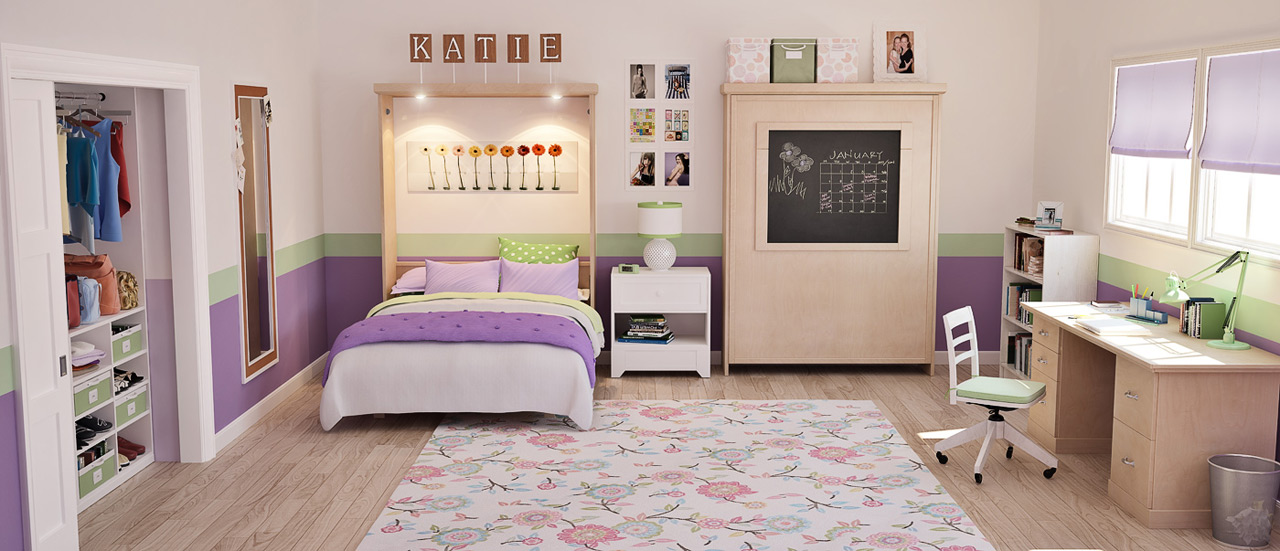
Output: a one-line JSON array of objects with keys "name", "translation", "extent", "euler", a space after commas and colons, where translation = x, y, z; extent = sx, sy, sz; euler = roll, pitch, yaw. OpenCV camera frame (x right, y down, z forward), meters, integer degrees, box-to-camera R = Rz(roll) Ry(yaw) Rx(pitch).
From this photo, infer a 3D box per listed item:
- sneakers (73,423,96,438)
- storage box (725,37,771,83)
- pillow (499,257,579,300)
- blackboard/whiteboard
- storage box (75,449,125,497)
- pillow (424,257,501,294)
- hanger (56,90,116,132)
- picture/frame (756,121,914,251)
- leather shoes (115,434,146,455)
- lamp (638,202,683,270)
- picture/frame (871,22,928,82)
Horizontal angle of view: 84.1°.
[{"name": "sneakers", "translation": [-5.727, 1.597, 7.297], "extent": [0.145, 0.102, 0.129], "euler": [9, 15, 32]}, {"name": "storage box", "translation": [1.386, -2.887, 9.640], "extent": [0.777, 0.503, 0.641], "euler": [0, 2, 2]}, {"name": "pillow", "translation": [-1.349, 0.043, 9.561], "extent": [1.044, 0.485, 0.540], "euler": [-1, 13, -9]}, {"name": "blackboard/whiteboard", "translation": [2.639, -1.271, 9.521], "extent": [2.274, 1.330, 0.176], "euler": [0, 1, 0]}, {"name": "storage box", "translation": [-5.624, 2.045, 7.366], "extent": [0.430, 0.177, 0.496], "euler": [-2, 5, -2]}, {"name": "pillow", "translation": [-2.362, 0.022, 9.441], "extent": [0.983, 0.387, 0.583], "euler": [-1, 12, -9]}, {"name": "hanger", "translation": [-5.894, -1.758, 7.505], "extent": [0.963, 0.379, 0.064], "euler": [0, -6, -10]}, {"name": "picture/frame", "translation": [2.644, -1.281, 9.511], "extent": [2.533, 1.346, 0.147], "euler": [1, 2, 0]}, {"name": "leather shoes", "translation": [-5.628, 1.866, 7.781], "extent": [0.373, 0.093, 0.189], "euler": [5, 13, 22]}, {"name": "lamp", "translation": [0.275, -0.548, 9.733], "extent": [0.561, 0.929, 0.436], "euler": [0, 14, -4]}, {"name": "picture/frame", "translation": [3.575, -3.050, 9.674], "extent": [1.230, 0.962, 0.050], "euler": [0, -1, -1]}]
